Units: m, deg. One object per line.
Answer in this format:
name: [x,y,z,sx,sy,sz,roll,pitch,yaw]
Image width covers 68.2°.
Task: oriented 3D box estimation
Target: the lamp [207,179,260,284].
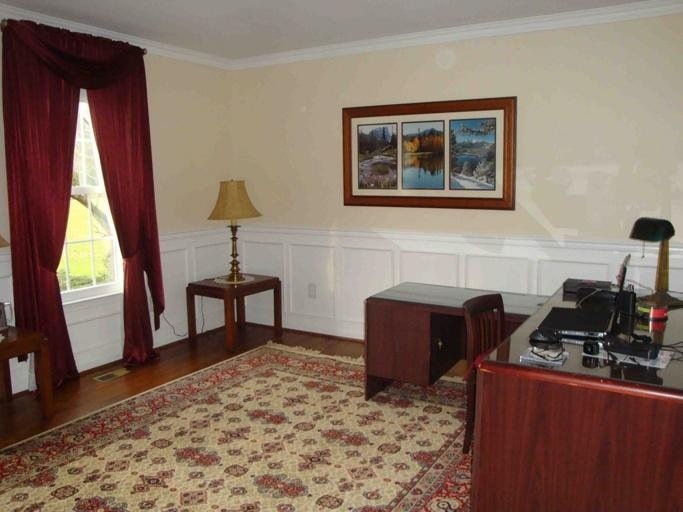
lamp: [-1.127,-0.267,5.409,0.569,1.075,0.669,-4,12,-14]
